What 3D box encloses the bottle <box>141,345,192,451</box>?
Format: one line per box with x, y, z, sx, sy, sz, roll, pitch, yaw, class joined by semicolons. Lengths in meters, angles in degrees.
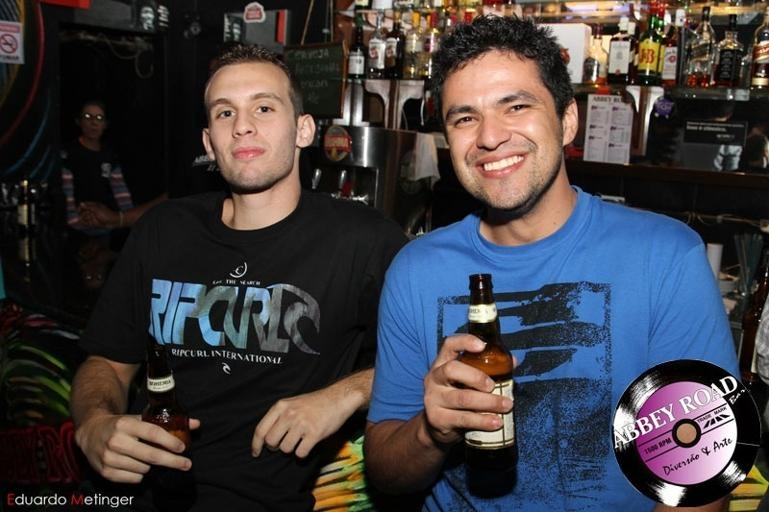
-0.798;0.476;2.022;0.146;0.455;0.258;-8;17;-27;bottle

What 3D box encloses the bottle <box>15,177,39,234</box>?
-2.567;-0.358;4.052;0.123;0.375;0.260;-6;16;-21;bottle

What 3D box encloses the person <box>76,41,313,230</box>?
-0.893;-0.432;2.771;1.051;0.981;0.799;-4;-3;-7;person
